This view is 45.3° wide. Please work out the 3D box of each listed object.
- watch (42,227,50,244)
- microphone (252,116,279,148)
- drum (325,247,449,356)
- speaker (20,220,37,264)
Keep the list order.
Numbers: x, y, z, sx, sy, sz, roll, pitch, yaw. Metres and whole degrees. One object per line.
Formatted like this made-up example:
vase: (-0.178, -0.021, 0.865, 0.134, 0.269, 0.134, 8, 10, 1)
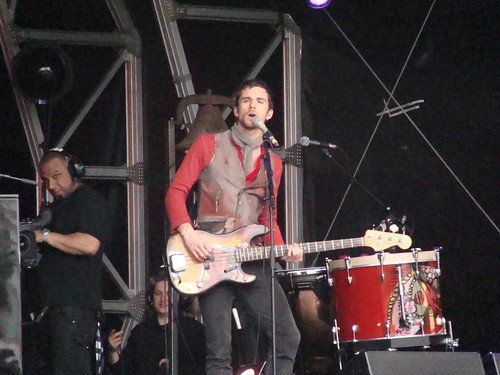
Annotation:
watch: (-1.814, 0.422, 5.318, 0.058, 0.101, 0.100, 16, 12, 13)
microphone: (0.117, -0.460, 4.820, 0.186, 0.316, 0.366, 1, -11, 0)
drum: (1.298, 1.060, 5.567, 0.951, 0.801, 1.014, -4, -12, -1)
speaker: (-1.941, 0.487, 5.246, 0.164, 0.413, 0.303, 6, -12, -25)
